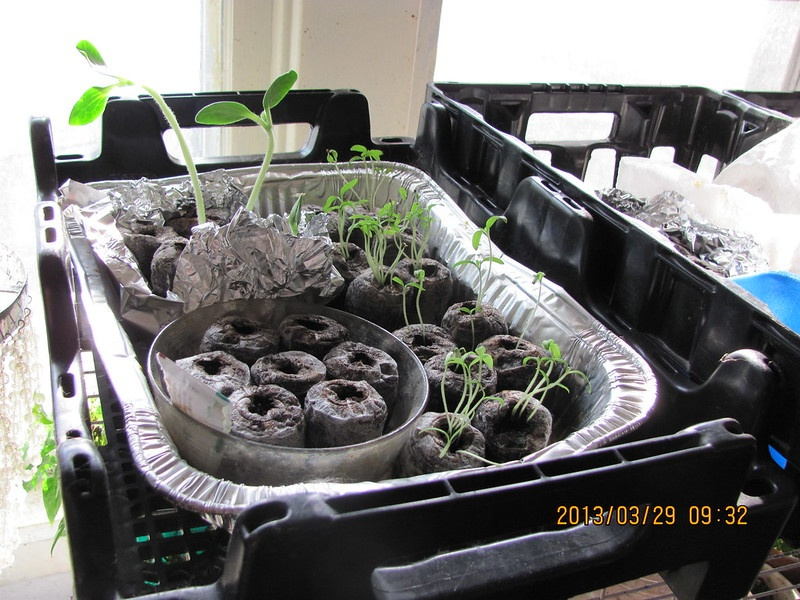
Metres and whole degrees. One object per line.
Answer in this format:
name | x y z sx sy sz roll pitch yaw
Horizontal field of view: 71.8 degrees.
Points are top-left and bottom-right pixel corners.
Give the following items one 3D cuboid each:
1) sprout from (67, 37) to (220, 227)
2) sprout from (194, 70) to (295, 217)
sprout | -0.423 -0.241 0.929 0.203 0.429 0.109 -20 51 -30
sprout | -0.245 -0.259 0.919 0.106 0.227 0.186 1 -1 30
